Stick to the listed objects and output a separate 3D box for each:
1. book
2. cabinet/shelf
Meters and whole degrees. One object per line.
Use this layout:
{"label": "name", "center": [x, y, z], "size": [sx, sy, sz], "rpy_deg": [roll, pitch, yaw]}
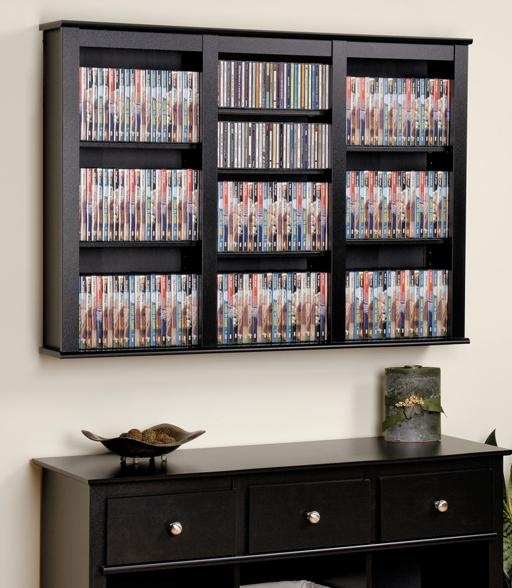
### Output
{"label": "book", "center": [-0.006, -0.311, 2.749], "size": [0.801, 0.796, 0.145], "rpy_deg": [0, 3, -16]}
{"label": "cabinet/shelf", "center": [0.046, -0.354, 2.765], "size": [1.168, 1.161, 0.268], "rpy_deg": [-1, -9, -3]}
